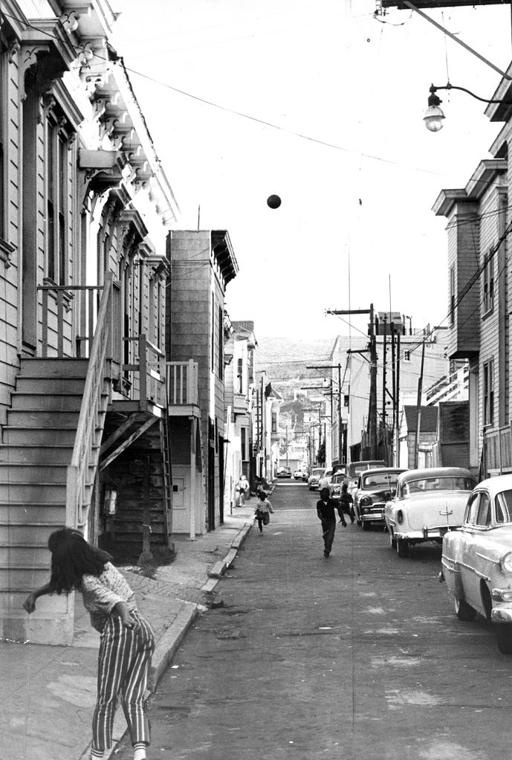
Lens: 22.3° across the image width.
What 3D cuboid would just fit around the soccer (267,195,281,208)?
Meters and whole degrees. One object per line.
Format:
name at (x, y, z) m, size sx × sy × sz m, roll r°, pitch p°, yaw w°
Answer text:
soccer at (0.250, -2.408, 17.657) m, size 0.149 × 0.169 × 0.408 m, roll 0°, pitch -11°, yaw -5°
